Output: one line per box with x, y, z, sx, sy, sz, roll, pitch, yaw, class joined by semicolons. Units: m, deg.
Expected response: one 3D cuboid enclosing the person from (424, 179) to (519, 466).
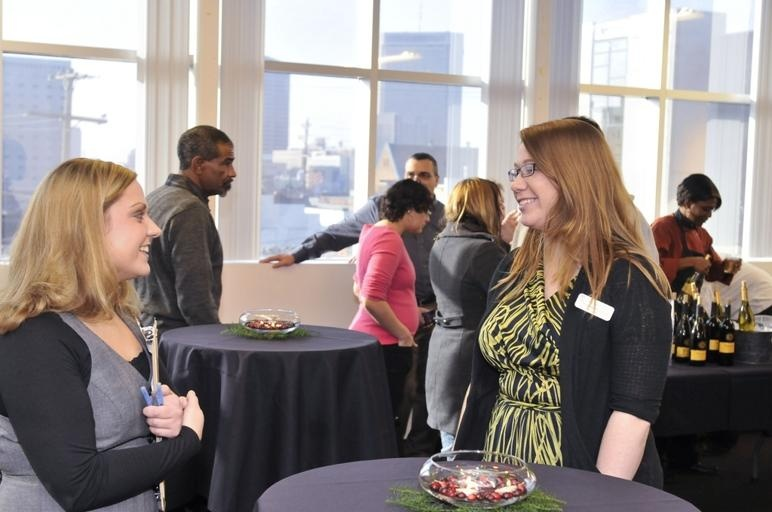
0.507;0.405;4.218;0.681;1.690;0.700;-2;18;-3;person

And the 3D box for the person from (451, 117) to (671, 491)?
0.671;0.125;2.774;0.736;1.264;0.372;4;8;21;person
